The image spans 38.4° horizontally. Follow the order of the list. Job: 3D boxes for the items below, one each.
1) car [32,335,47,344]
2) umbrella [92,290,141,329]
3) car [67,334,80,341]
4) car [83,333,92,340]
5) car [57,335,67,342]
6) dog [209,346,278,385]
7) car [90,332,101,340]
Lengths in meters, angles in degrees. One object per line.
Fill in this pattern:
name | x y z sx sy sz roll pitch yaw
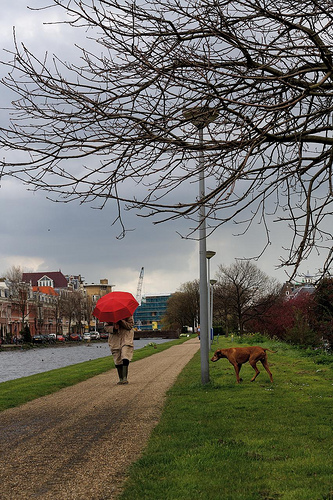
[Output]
car | -17.821 12.586 67.468 0.955 0.776 1.599 1 4 3
umbrella | -1.259 1.483 11.965 1.023 0.936 1.058 -4 -8 18
car | -17.960 16.398 89.857 1.881 0.892 1.132 0 4 12
car | -16.110 17.591 98.111 1.244 0.967 2.004 1 6 1
car | -17.425 14.773 79.667 1.018 0.804 1.807 2 2 -9
dog | 2.015 2.972 12.655 1.434 0.912 2.601 -2 -8 5
car | -14.863 18.209 101.306 1.145 0.759 2.590 1 2 1
